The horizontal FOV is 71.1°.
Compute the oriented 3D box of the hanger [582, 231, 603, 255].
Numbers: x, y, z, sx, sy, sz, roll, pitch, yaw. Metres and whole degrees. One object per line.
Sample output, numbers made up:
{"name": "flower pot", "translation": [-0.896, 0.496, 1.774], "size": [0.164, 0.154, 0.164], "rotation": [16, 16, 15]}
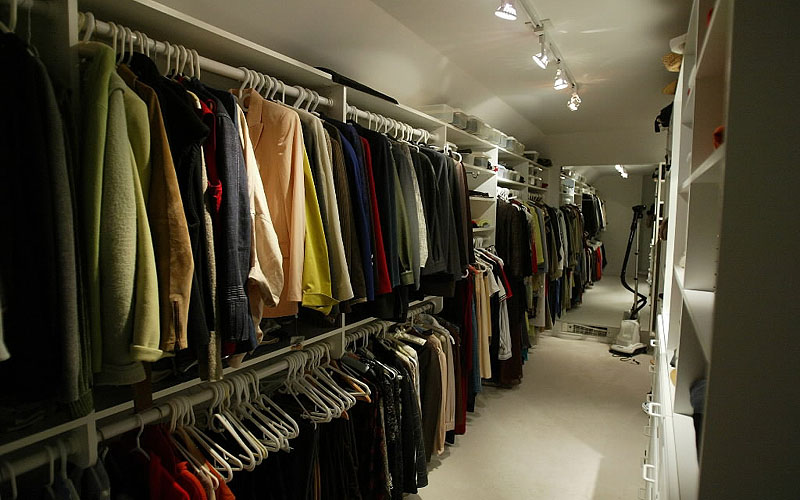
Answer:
{"name": "hanger", "translation": [2.193, -0.094, 6.392], "size": [0.219, 0.222, 0.193], "rotation": [2, 12, 16]}

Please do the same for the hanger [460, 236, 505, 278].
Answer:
{"name": "hanger", "translation": [0.653, 0.069, 4.275], "size": [0.279, 0.361, 0.120], "rotation": [3, 5, 23]}
